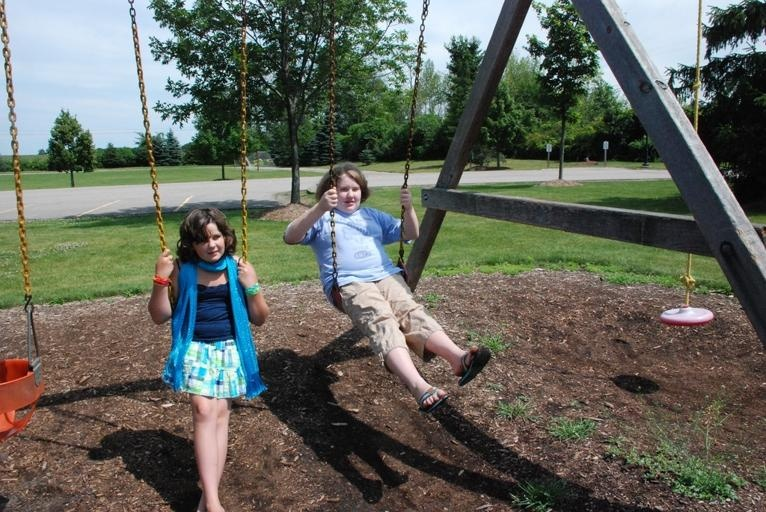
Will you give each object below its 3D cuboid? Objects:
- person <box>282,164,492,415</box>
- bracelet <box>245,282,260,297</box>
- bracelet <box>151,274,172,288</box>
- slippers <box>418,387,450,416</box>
[{"bbox_3d":[-0.071,0.105,4.692,1.245,0.983,2.408,-11,41,-24],"label":"person"},{"bbox_3d":[-0.965,0.257,4.333,0.088,0.060,0.096,-18,-18,-13],"label":"bracelet"},{"bbox_3d":[-1.591,0.174,4.158,0.092,0.051,0.086,12,-2,15],"label":"bracelet"},{"bbox_3d":[0.341,1.045,4.184,0.167,0.094,0.310,-46,8,-16],"label":"slippers"}]
